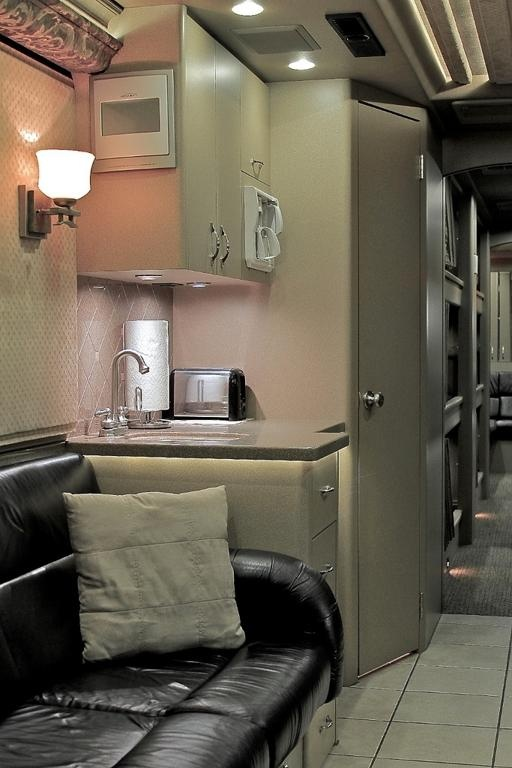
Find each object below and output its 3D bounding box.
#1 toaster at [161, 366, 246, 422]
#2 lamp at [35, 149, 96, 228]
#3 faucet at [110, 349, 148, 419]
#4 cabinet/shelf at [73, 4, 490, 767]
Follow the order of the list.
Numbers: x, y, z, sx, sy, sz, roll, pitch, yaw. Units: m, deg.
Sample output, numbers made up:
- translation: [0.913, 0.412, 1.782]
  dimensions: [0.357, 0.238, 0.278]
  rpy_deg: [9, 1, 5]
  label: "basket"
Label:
- translation: [-0.234, 0.038, 2.801]
  dimensions: [0.335, 0.266, 0.213]
  rpy_deg: [4, 9, 6]
  label: "toaster"
- translation: [-0.560, -0.573, 1.831]
  dimensions: [0.145, 0.218, 0.166]
  rpy_deg: [5, 13, 7]
  label: "lamp"
- translation: [-0.483, 0.003, 2.394]
  dimensions: [0.148, 0.278, 0.265]
  rpy_deg: [0, -3, -14]
  label: "faucet"
- translation: [0.439, -0.323, 3.868]
  dimensions: [1.946, 4.239, 2.941]
  rpy_deg: [-1, 1, 12]
  label: "cabinet/shelf"
